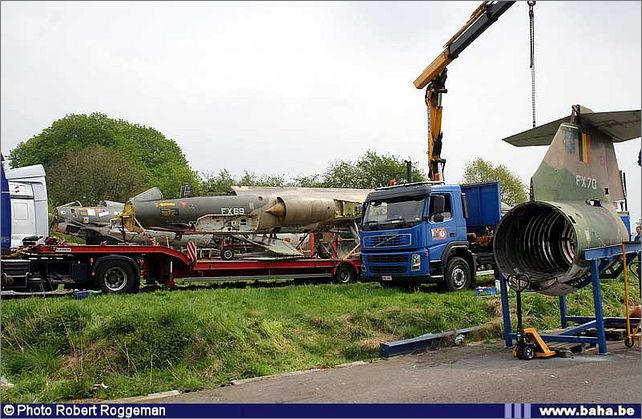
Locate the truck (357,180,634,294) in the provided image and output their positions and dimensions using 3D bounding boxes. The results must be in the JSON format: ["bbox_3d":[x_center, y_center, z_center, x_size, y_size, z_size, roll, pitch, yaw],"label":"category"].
[{"bbox_3d":[4.018,0.708,14.779,4.994,1.970,5.088,0,0,-39],"label":"truck"}]
